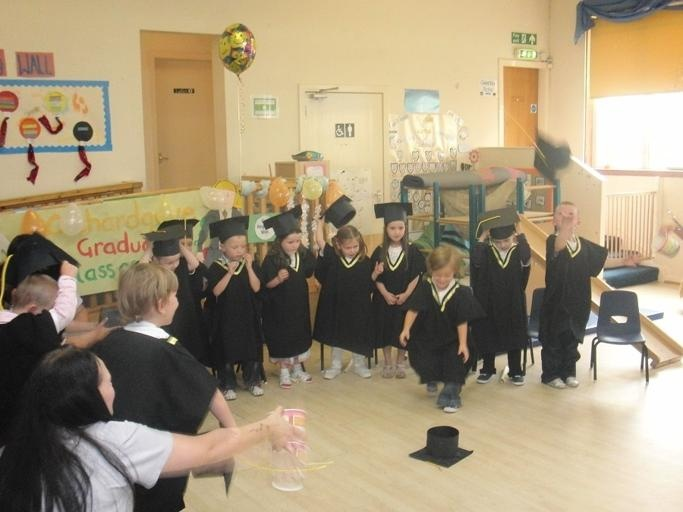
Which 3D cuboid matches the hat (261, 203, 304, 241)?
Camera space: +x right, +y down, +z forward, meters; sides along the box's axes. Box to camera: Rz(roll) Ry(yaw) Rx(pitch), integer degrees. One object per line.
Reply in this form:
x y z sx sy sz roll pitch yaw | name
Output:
-0.461 -0.321 4.415 0.279 0.181 0.282 -27 5 -13 | hat

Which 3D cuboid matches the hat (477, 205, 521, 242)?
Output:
1.267 -0.268 4.353 0.264 0.134 0.264 -32 13 -31 | hat

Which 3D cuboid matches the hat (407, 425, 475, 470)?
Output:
0.620 1.154 3.388 0.325 0.161 0.291 7 13 38 | hat

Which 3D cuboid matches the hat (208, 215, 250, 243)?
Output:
-0.851 -0.217 4.159 0.219 0.112 0.224 -11 6 -20 | hat

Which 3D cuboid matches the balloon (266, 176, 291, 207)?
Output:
-0.582 -0.591 5.084 0.204 0.288 0.275 2 -8 -8 | balloon

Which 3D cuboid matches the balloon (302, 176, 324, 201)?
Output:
-0.287 -0.636 5.122 0.164 0.228 0.167 -26 -3 -5 | balloon

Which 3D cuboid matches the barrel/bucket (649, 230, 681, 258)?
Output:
4.515 -0.187 7.501 0.124 0.303 0.354 -4 42 -23 | barrel/bucket

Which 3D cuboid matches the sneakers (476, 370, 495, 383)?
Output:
1.171 0.976 4.454 0.069 0.074 0.195 0 1 34 | sneakers

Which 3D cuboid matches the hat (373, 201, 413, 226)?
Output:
0.492 -0.399 5.054 0.414 0.219 0.397 1 13 7 | hat

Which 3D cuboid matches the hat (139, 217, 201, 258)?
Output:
-1.181 -0.143 3.778 0.272 0.193 0.394 -9 19 -13 | hat

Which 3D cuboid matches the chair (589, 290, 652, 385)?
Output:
2.250 0.650 4.386 0.489 0.688 0.474 1 4 44 | chair

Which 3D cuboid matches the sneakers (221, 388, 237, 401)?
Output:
-0.861 1.065 4.204 0.069 0.056 0.121 -4 -2 -20 | sneakers
